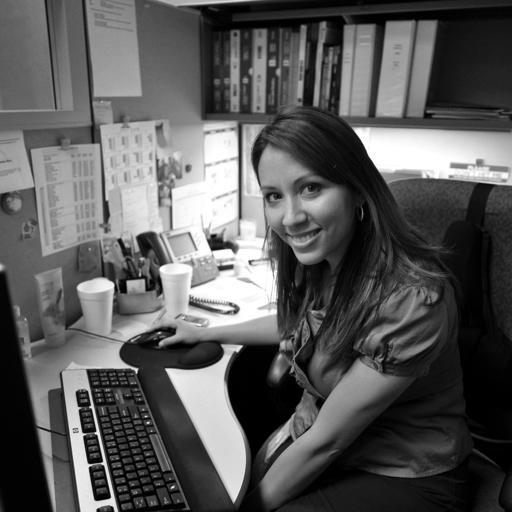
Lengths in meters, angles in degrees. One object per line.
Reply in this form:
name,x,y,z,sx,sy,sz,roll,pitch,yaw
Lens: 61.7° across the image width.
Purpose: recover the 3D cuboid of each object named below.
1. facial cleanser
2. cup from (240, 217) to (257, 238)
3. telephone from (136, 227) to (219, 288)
facial cleanser,-0.526,0.126,1.103,0.078,0.187,0.072,-6,22,-33
cup,-0.035,-0.128,2.000,0.070,0.096,0.075,2,6,0
telephone,-0.266,0.014,1.550,0.130,0.236,0.243,-8,5,43
